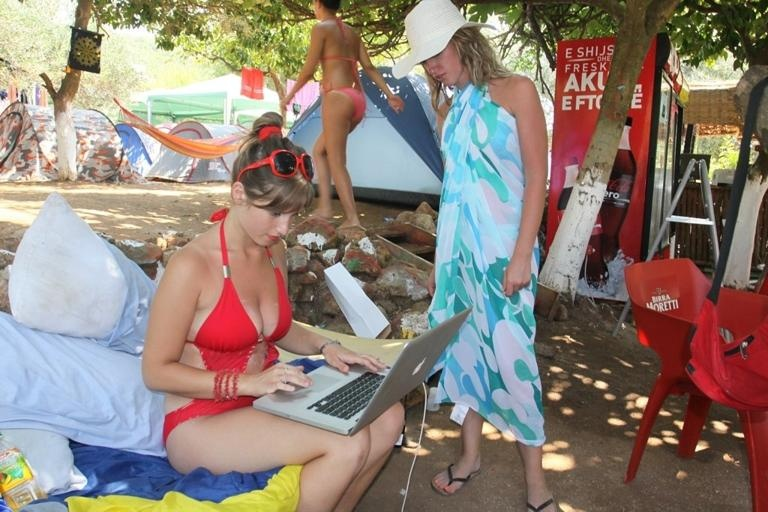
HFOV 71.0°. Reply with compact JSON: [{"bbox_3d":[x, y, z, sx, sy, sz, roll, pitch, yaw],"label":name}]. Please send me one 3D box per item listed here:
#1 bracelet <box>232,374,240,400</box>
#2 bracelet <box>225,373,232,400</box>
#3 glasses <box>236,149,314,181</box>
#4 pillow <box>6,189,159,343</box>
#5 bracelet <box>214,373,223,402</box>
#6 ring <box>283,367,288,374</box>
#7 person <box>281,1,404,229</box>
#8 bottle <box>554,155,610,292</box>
[{"bbox_3d":[-0.691,0.608,2.513,0.031,0.108,0.025,-2,8,-17],"label":"bracelet"},{"bbox_3d":[-0.717,0.604,2.515,0.033,0.112,0.034,-1,8,-9],"label":"bracelet"},{"bbox_3d":[-0.516,-0.439,2.593,0.358,0.150,0.130,-2,9,-17],"label":"glasses"},{"bbox_3d":[-1.651,0.175,2.919,0.288,0.821,0.732,-20,32,47],"label":"pillow"},{"bbox_3d":[-0.755,0.603,2.502,0.030,0.101,0.071,2,0,4],"label":"bracelet"},{"bbox_3d":[-0.460,0.536,2.518,0.019,0.005,0.019,-1,49,1],"label":"ring"},{"bbox_3d":[-0.419,-1.487,5.057,0.944,2.548,0.738,-2,6,-34],"label":"person"},{"bbox_3d":[2.336,-0.274,6.239,0.439,1.719,0.383,14,19,35],"label":"bottle"}]
